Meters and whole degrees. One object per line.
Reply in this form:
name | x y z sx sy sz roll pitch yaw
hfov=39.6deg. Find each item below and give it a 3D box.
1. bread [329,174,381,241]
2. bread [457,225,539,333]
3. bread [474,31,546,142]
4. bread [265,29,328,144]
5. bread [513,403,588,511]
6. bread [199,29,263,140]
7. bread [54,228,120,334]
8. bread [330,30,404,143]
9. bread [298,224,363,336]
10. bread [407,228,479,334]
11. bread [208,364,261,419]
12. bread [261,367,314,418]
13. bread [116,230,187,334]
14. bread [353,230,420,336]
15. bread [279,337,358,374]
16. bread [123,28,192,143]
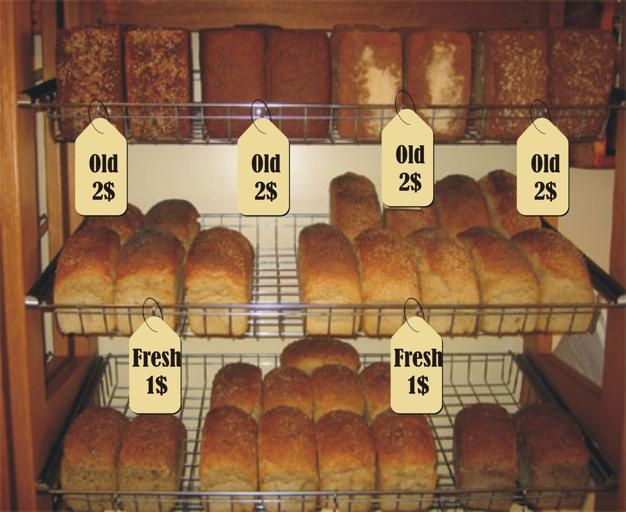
bread | 0.097 -0.141 2.328 0.122 0.058 0.233 -9 -39 1
bread | 0.472 0.066 2.220 0.108 0.282 0.148 -2 -41 -6
bread | 0.494 -0.434 2.184 0.159 0.057 0.331 1 -89 -4
bread | -0.048 -0.439 2.034 0.161 0.077 0.415 0 -89 -8
bread | 0.607 0.520 2.208 0.178 0.255 0.165 -16 -57 6
bread | -0.197 -0.407 2.123 0.158 0.159 0.233 -1 -60 -4
bread | -0.573 0.135 2.292 0.147 0.385 0.203 2 -28 -8
bread | 0.139 -0.405 2.135 0.174 0.204 0.236 -2 -59 -3
bread | 0.045 0.062 2.129 0.100 0.313 0.136 2 -25 -10
bread | 0.322 0.069 2.189 0.114 0.284 0.132 1 -14 -34
bread | -0.197 0.358 2.337 0.114 0.235 0.085 -3 -70 3
bread | -0.037 0.353 2.319 0.148 0.155 0.092 -3 -69 20
bread | -0.401 0.077 2.137 0.130 0.285 0.155 -1 -34 7
bread | 0.175 0.072 2.259 0.131 0.299 0.192 4 -74 -4
bread | 0.016 0.271 2.372 0.131 0.135 0.085 8 -99 -23
bread | -0.378 -0.422 2.127 0.169 0.070 0.345 0 -85 -10
